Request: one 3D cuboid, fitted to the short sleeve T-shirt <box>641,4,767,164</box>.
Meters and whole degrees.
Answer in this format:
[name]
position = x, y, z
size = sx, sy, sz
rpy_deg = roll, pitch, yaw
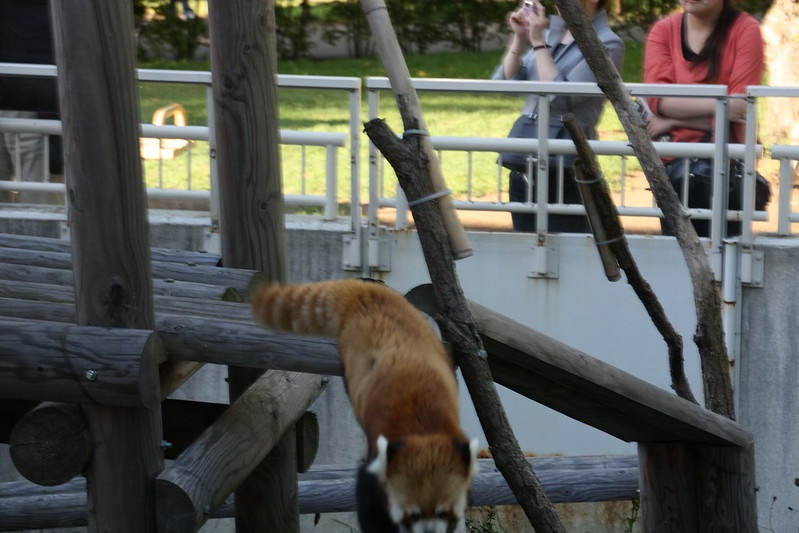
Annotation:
[short sleeve T-shirt]
position = 2.692, -1.706, 19.281
size = 0.996, 1.253, 0.658
rpy_deg = 6, 11, 19
